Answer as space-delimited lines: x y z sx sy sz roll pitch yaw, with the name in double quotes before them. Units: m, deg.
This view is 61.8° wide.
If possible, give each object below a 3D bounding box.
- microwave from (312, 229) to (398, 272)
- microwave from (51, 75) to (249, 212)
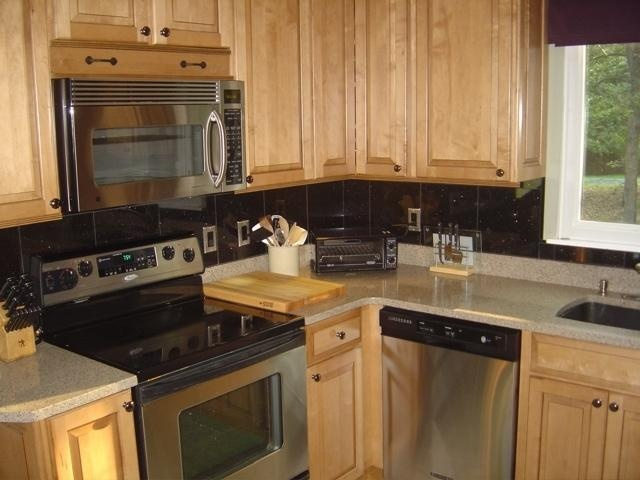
"microwave" 0.205 0.080 3.149 0.472 0.232 0.406 1 14 5
"microwave" -0.747 -0.401 2.308 0.487 0.567 0.772 16 20 42
